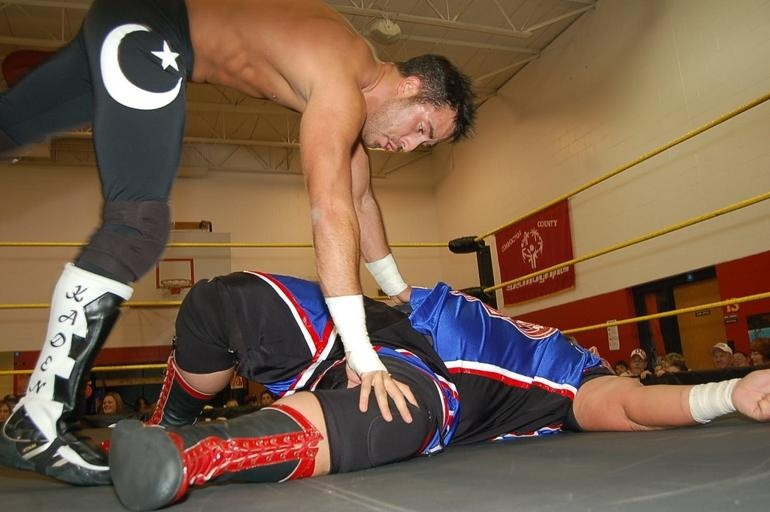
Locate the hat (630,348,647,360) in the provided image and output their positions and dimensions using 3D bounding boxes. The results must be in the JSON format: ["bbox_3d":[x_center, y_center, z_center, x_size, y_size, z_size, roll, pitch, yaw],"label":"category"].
[{"bbox_3d":[2.977,1.134,6.150,0.155,0.115,0.257,-3,-16,15],"label":"hat"}]

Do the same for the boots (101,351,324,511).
[{"bbox_3d":[-0.403,0.413,1.283,0.303,0.153,0.294,-2,3,-38],"label":"boots"}]
